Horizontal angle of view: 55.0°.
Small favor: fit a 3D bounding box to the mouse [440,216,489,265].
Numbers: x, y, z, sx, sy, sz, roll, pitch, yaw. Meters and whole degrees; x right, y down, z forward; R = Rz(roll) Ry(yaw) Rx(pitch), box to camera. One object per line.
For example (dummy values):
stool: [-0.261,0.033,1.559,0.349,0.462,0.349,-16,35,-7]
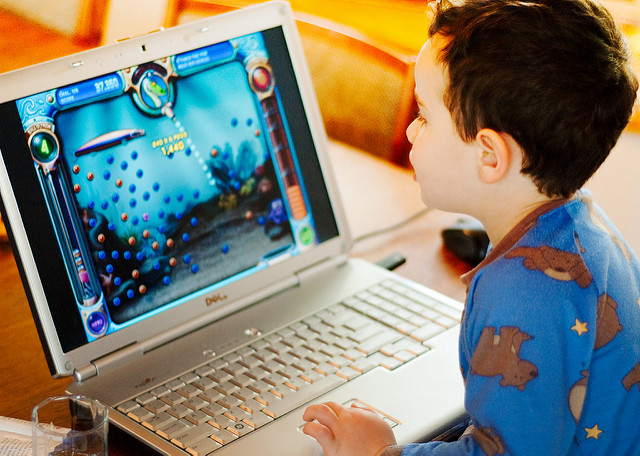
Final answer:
mouse: [0.269,0.024,1.127,0.077,0.020,0.076,-31,49,-27]
